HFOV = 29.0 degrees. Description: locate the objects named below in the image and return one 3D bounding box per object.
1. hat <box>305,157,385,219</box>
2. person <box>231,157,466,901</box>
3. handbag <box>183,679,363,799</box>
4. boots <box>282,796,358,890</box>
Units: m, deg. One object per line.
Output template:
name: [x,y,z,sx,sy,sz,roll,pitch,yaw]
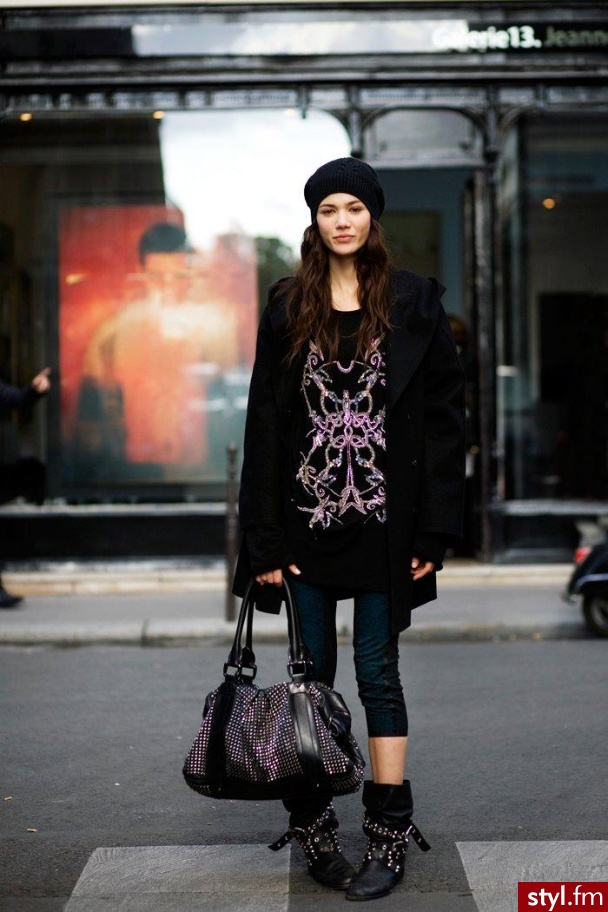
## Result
hat: [0.106,-0.641,2.964,0.168,0.135,0.185,0,-19,2]
person: [0.110,0.151,2.956,0.500,1.782,0.494,-7,9,-40]
handbag: [-0.063,0.621,2.790,0.459,0.344,0.199,-10,-14,26]
boots: [0.022,0.945,2.931,0.108,0.123,0.288,-17,17,-13]
